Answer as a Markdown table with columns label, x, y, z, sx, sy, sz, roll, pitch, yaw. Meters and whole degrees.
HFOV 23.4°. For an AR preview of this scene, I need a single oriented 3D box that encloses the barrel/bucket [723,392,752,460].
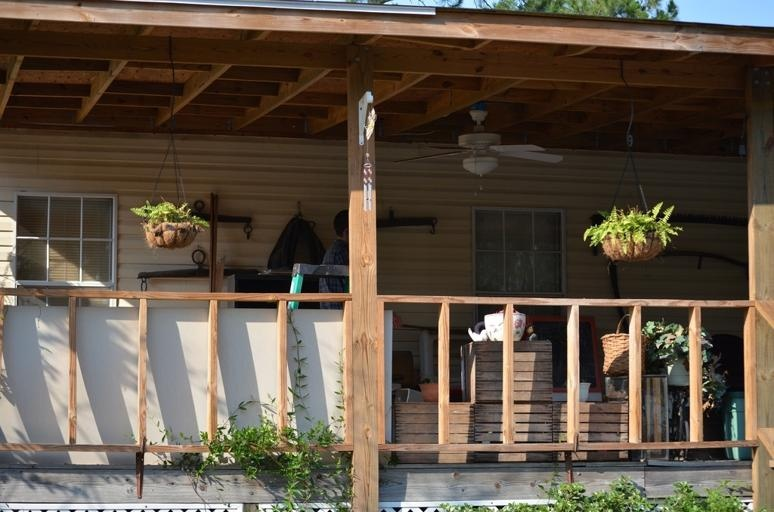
| label | x | y | z | sx | sy | sz | roll | pitch | yaw |
| --- | --- | --- | --- | --- | --- | --- | --- | --- | --- |
| barrel/bucket | 3.798 | 1.806 | 20.201 | 0.268 | 0.716 | 0.532 | -3 | -6 | 10 |

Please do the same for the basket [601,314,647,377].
| label | x | y | z | sx | sy | sz | roll | pitch | yaw |
| --- | --- | --- | --- | --- | --- | --- | --- | --- | --- |
| basket | 2.526 | 0.961 | 20.157 | 0.678 | 0.752 | 0.670 | 2 | -5 | 10 |

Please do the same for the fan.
| label | x | y | z | sx | sy | sz | roll | pitch | yaw |
| --- | --- | --- | --- | --- | --- | --- | --- | --- | --- |
| fan | 1.109 | -1.417 | 21.456 | 1.410 | 0.776 | 1.591 | 0 | -5 | -16 |

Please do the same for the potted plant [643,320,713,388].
| label | x | y | z | sx | sy | sz | roll | pitch | yaw |
| --- | --- | --- | --- | --- | --- | --- | --- | --- | --- |
| potted plant | 3.126 | 0.953 | 20.163 | 0.647 | 0.744 | 0.641 | 4 | 16 | -3 |

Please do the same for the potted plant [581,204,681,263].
| label | x | y | z | sx | sy | sz | roll | pitch | yaw |
| --- | --- | --- | --- | --- | --- | --- | --- | --- | --- |
| potted plant | 2.465 | -0.207 | 19.587 | 1.010 | 0.476 | 0.952 | -4 | -5 | 33 |

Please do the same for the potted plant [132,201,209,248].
| label | x | y | z | sx | sy | sz | roll | pitch | yaw |
| --- | --- | --- | --- | --- | --- | --- | --- | --- | --- |
| potted plant | -2.308 | -0.350 | 19.659 | 0.681 | 0.573 | 0.765 | 1 | 7 | -4 |

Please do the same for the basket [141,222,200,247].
| label | x | y | z | sx | sy | sz | roll | pitch | yaw |
| --- | --- | --- | --- | --- | --- | --- | --- | --- | --- |
| basket | -2.267 | -0.232 | 19.461 | 0.576 | 0.260 | 0.232 | -1 | -5 | -5 |

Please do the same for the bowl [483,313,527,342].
| label | x | y | z | sx | sy | sz | roll | pitch | yaw |
| --- | --- | --- | --- | --- | --- | --- | --- | --- | --- |
| bowl | 1.232 | 0.720 | 19.547 | 0.427 | 0.315 | 0.511 | -2 | -5 | 3 |

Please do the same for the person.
| label | x | y | z | sx | sy | sz | roll | pitch | yaw |
| --- | --- | --- | --- | --- | --- | --- | --- | --- | --- |
| person | -0.382 | 0.123 | 21.339 | 0.888 | 1.240 | 0.650 | 3 | 6 | -6 |
